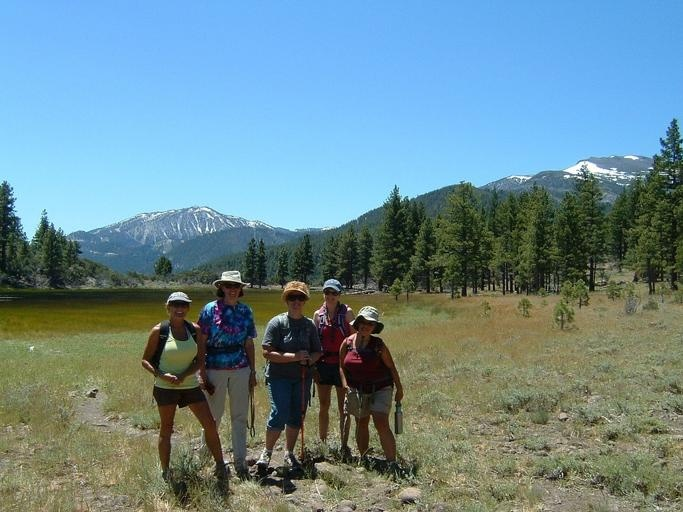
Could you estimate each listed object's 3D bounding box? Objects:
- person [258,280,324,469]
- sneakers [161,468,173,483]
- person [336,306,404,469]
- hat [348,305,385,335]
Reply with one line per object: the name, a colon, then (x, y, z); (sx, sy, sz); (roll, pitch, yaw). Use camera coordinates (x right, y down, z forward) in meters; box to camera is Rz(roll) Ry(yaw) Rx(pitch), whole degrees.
person: (-1.139, 2.646, 14.101); (1.261, 4.102, 0.656); (1, -1, -9)
sneakers: (-3.603, 4.551, 13.287); (0.219, 0.376, 0.216); (1, -28, -22)
person: (0.650, 2.851, 14.278); (1.360, 3.407, 0.759); (1, -1, 5)
hat: (0.611, 1.382, 14.356); (0.546, 0.404, 0.648); (13, -22, -1)
